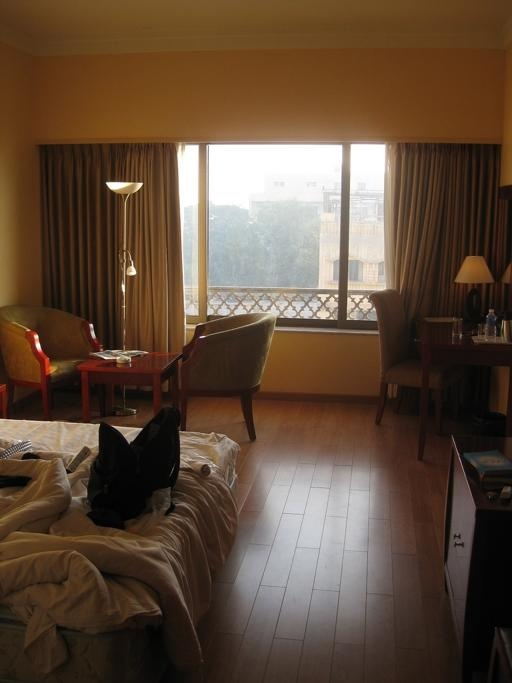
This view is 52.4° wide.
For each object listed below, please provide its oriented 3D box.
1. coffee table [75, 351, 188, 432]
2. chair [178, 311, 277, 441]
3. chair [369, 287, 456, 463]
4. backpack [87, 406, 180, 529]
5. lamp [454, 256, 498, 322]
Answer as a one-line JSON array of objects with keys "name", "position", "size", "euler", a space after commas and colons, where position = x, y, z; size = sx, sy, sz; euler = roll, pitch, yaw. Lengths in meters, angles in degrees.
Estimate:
[{"name": "coffee table", "position": [-0.919, 0.241, 3.844], "size": [0.535, 0.527, 0.648], "euler": [1, 7, 5]}, {"name": "chair", "position": [-0.231, 0.188, 4.030], "size": [0.694, 0.998, 0.856], "euler": [3, 16, -3]}, {"name": "chair", "position": [1.251, 0.109, 4.147], "size": [0.607, 1.070, 0.550], "euler": [2, 7, 43]}, {"name": "backpack", "position": [-0.384, 0.397, 1.701], "size": [0.181, 0.313, 0.346], "euler": [4, 3, 35]}, {"name": "lamp", "position": [1.774, -0.432, 4.251], "size": [0.295, 0.547, 0.468], "euler": [3, 7, 22]}]
